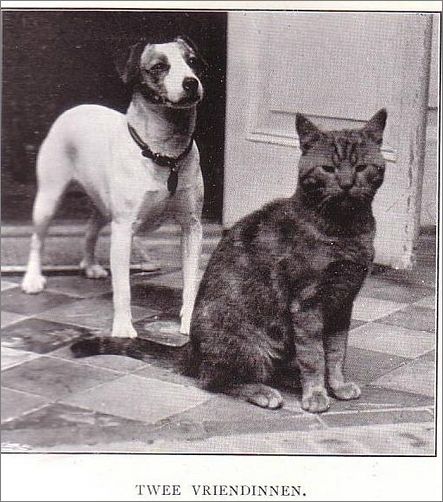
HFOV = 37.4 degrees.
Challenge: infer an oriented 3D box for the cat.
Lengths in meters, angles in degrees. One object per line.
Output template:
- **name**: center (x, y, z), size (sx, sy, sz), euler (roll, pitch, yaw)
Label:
- **cat**: center (0.079, 0.017, 3.746), size (1.848, 1.631, 0.759), euler (0, 7, 10)
